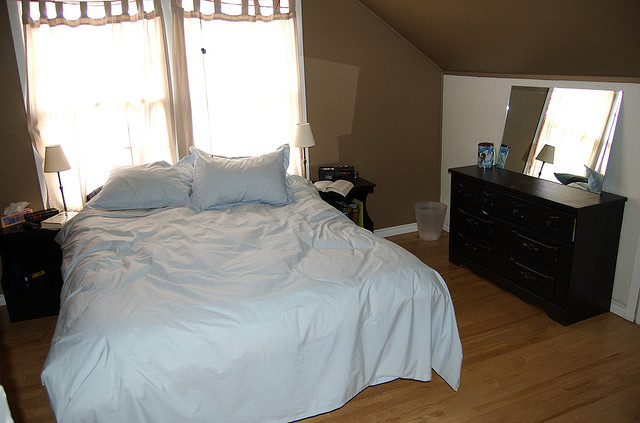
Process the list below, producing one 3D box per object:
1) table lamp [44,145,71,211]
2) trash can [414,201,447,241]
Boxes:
[{"bbox_3d":[-2.433,-0.299,4.172,0.178,0.603,0.176,-10,1,-4],"label":"table lamp"},{"bbox_3d":[1.318,0.084,5.422,0.436,0.448,0.439,4,17,11],"label":"trash can"}]
